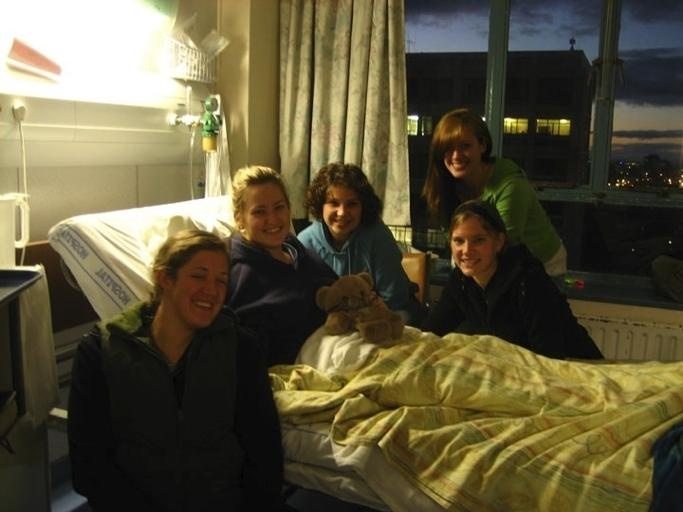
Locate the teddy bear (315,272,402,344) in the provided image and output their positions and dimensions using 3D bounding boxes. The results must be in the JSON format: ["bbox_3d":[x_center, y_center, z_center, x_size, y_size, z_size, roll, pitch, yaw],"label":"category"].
[{"bbox_3d":[0.037,0.176,2.383,0.267,0.162,0.315,-27,-9,-1],"label":"teddy bear"}]
